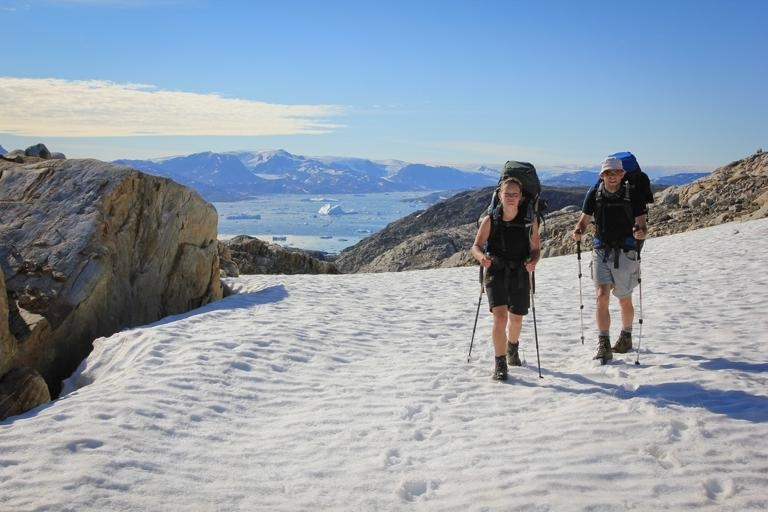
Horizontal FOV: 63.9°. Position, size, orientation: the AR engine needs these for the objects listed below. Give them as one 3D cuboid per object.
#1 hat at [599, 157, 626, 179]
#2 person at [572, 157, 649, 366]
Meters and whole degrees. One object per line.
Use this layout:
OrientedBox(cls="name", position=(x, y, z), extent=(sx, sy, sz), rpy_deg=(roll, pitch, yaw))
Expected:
OrientedBox(cls="hat", position=(3.928, -1.540, 10.601), extent=(0.374, 0.351, 0.189), rpy_deg=(5, 4, 17))
OrientedBox(cls="person", position=(3.912, 0.079, 10.721), extent=(1.055, 3.618, 0.564), rpy_deg=(6, 4, 14))
